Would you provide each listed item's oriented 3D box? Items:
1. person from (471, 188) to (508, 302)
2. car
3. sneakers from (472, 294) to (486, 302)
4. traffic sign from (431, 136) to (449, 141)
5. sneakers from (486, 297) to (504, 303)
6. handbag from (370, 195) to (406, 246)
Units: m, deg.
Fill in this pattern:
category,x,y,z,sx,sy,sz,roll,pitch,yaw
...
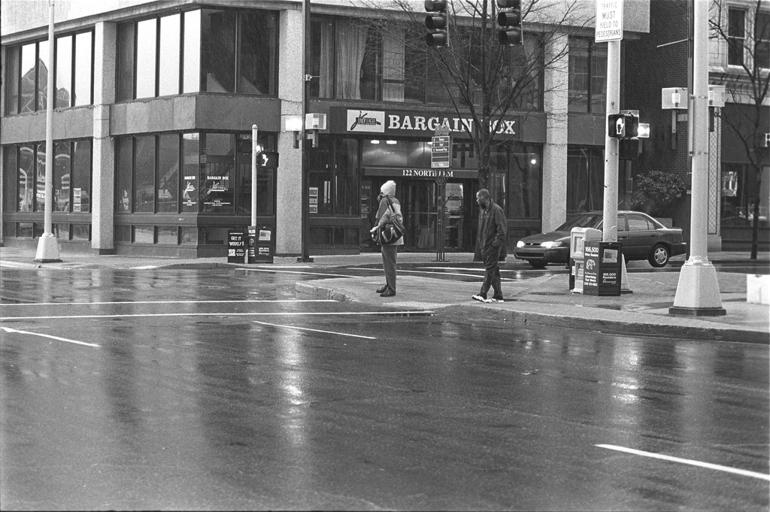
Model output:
category,x,y,z,sx,sy,sz,roll,pitch,yaw
person,2.267,-0.259,22.328,0.743,1.669,1.245,0,0,5
car,6.884,-0.508,32.064,5.196,1.706,2.095,0,-2,-20
sneakers,2.023,0.918,22.052,0.106,0.137,0.317,42,-8,-22
traffic sign,1.811,-3.890,33.669,0.341,0.079,0.312,1,-1,-10
sneakers,2.347,0.947,21.933,0.379,0.152,0.140,0,-1,-10
handbag,0.024,-0.808,23.036,0.764,1.117,0.528,0,0,-19
